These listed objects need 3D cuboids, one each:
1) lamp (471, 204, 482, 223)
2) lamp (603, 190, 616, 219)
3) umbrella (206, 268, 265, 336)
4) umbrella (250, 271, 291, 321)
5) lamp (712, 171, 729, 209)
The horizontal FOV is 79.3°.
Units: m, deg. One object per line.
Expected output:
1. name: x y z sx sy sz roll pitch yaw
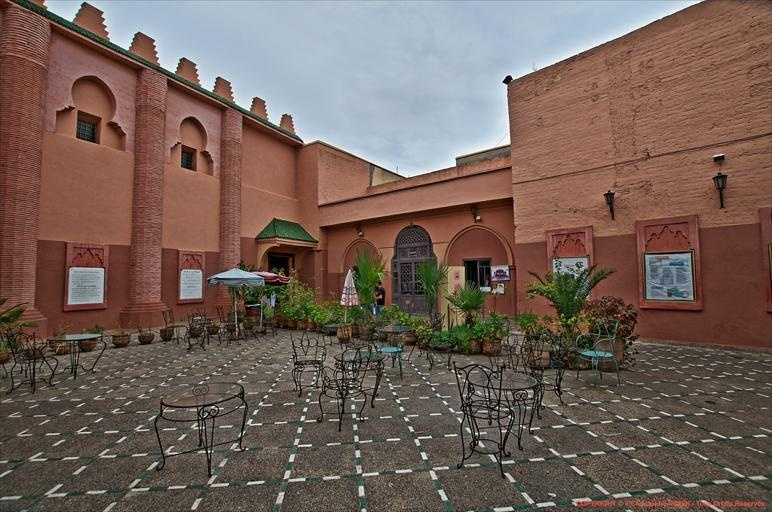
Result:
1. lamp: 3.304 -1.561 17.178 0.383 0.628 0.443 -7 -9 32
2. lamp: 6.502 -1.512 13.484 0.299 0.882 0.283 5 -10 -44
3. umbrella: -4.885 1.561 15.382 2.188 2.446 2.433 3 -4 -38
4. umbrella: -4.015 1.313 16.996 1.695 1.699 1.618 1 7 -40
5. lamp: 8.782 -1.744 12.151 0.317 0.993 0.269 -7 -9 34
